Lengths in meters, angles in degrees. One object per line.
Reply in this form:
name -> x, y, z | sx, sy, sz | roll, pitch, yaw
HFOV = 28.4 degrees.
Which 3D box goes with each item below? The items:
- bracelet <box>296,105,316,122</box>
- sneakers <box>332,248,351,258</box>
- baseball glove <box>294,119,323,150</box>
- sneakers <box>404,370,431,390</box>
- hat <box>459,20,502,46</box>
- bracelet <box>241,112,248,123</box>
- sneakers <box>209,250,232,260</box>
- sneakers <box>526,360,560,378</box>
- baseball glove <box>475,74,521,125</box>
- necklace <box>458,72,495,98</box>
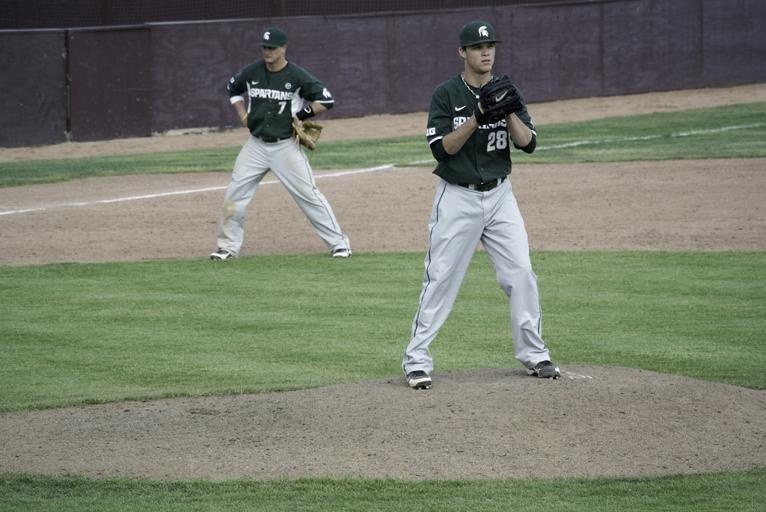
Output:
bracelet -> -1.079, -2.014, 21.576 | 0.315, 0.155, 0.123 | -9, -20, -3
sneakers -> -0.594, -0.030, 21.760 | 0.110, 0.104, 0.261 | 0, -6, 11
baseball glove -> -1.057, -1.736, 21.570 | 0.419, 0.167, 0.407 | 21, 17, 6
sneakers -> 0.433, 1.471, 17.739 | 0.150, 0.130, 0.307 | 1, -3, -20
hat -> 1.053, -2.615, 17.840 | 0.313, 0.214, 0.401 | -7, 11, -23
bracelet -> -2.015, -1.998, 21.744 | 0.072, 0.164, 0.128 | -5, -29, -1
sneakers -> -2.321, 0.001, 21.660 | 0.279, 0.111, 0.145 | 4, -8, -34
sneakers -> 1.914, 1.336, 17.912 | 0.215, 0.132, 0.311 | -6, 5, -43
baseball glove -> 1.311, -1.809, 17.591 | 0.474, 0.283, 0.607 | -13, -16, -27
necklace -> 1.075, -2.008, 17.862 | 0.282, 0.101, 0.355 | 4, 41, 16
